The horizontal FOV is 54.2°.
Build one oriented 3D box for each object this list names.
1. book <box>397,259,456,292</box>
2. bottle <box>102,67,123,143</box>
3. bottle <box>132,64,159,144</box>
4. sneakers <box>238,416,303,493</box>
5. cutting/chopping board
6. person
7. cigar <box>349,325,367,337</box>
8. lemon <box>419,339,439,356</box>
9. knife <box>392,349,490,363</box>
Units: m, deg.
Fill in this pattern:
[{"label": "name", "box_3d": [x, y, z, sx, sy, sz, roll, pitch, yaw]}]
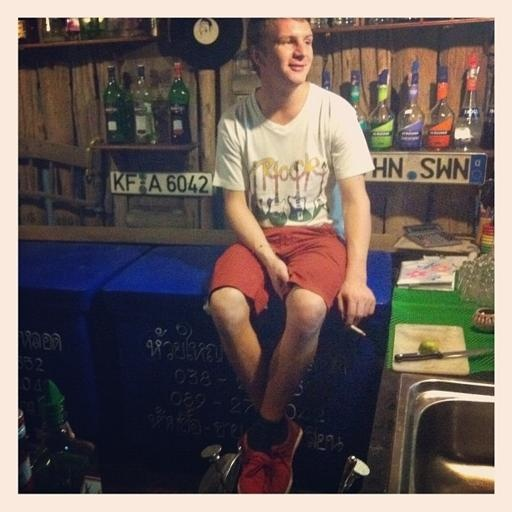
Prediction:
[{"label": "book", "box_3d": [0.599, 0.057, 1.751, 0.184, 0.087, 0.180, 5, 11, 20]}, {"label": "bottle", "box_3d": [-0.496, -0.551, 1.814, 0.066, 0.261, 0.069, 1, 23, 0]}, {"label": "bottle", "box_3d": [-0.395, -0.543, 1.782, 0.082, 0.266, 0.035, -1, 9, -16]}, {"label": "sneakers", "box_3d": [0.037, 0.659, 1.564, 0.123, 0.291, 0.102, 9, -2, 24]}, {"label": "cutting/chopping board", "box_3d": [0.464, 0.243, 1.348, 0.191, 0.091, 0.250, 3, 29, 5]}, {"label": "person", "box_3d": [0.105, 0.014, 1.534, 0.506, 1.492, 0.357, 1, 9, 1]}, {"label": "cigar", "box_3d": [0.303, 0.221, 1.479, 0.046, 0.036, 0.015, 4, 9, 11]}, {"label": "lemon", "box_3d": [0.453, 0.237, 1.304, 0.032, 0.037, 0.035, 0, 8, -1]}, {"label": "knife", "box_3d": [0.490, 0.257, 1.288, 0.271, 0.032, 0.029, 1, 9, -7]}]
